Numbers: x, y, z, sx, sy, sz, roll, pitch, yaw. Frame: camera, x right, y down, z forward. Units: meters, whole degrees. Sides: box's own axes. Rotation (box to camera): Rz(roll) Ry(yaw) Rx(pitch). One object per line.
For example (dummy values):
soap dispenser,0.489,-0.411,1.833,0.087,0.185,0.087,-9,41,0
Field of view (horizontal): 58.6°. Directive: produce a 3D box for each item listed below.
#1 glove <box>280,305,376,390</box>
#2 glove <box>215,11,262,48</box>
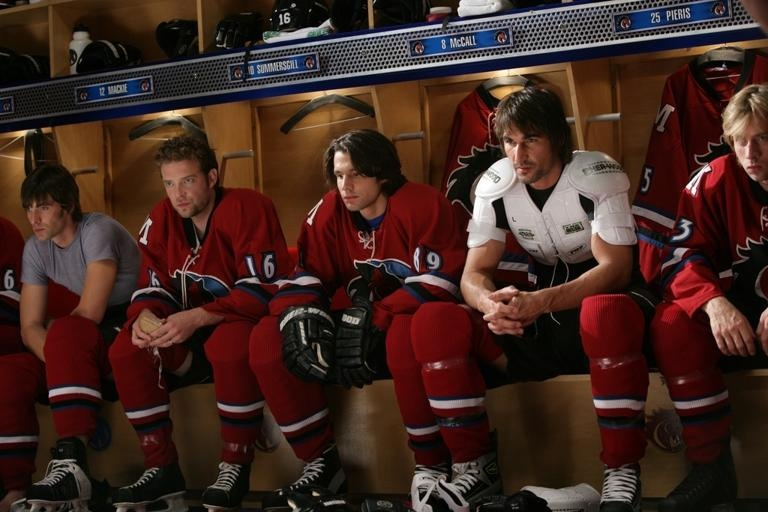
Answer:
glove,-0.247,0.393,3.014,0.421,0.350,0.211,-9,2,-3
glove,-1.000,-1.551,4.691,0.238,0.167,0.326,2,22,12
